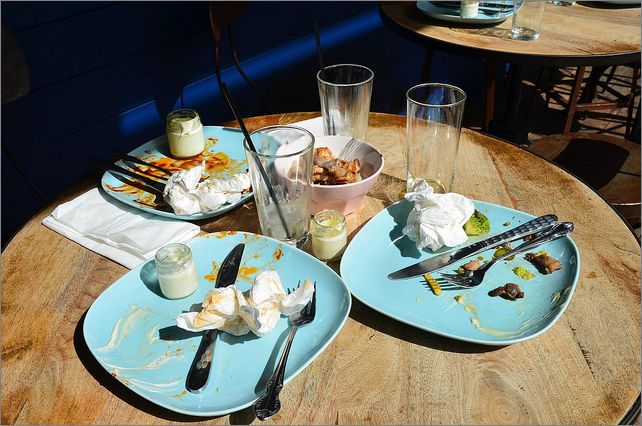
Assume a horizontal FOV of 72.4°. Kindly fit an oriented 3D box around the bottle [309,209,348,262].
[{"bbox_3d":[0.020,0.055,1.078,0.098,0.110,0.106,1,41,2],"label":"bottle"}]

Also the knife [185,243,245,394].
[{"bbox_3d":[-0.212,0.221,0.932,0.043,0.016,0.303,7,49,10],"label":"knife"}]

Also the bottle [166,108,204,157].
[{"bbox_3d":[-0.407,-0.234,1.331,0.097,0.115,0.104,14,32,25],"label":"bottle"}]

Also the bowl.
[{"bbox_3d":[0.047,-0.108,1.154,0.205,0.124,0.206,-2,44,2],"label":"bowl"}]

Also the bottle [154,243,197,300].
[{"bbox_3d":[-0.318,0.130,0.964,0.082,0.097,0.082,-6,29,-12],"label":"bottle"}]

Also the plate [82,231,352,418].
[{"bbox_3d":[-0.207,0.168,0.868,0.376,0.053,0.365,26,50,30],"label":"plate"}]
